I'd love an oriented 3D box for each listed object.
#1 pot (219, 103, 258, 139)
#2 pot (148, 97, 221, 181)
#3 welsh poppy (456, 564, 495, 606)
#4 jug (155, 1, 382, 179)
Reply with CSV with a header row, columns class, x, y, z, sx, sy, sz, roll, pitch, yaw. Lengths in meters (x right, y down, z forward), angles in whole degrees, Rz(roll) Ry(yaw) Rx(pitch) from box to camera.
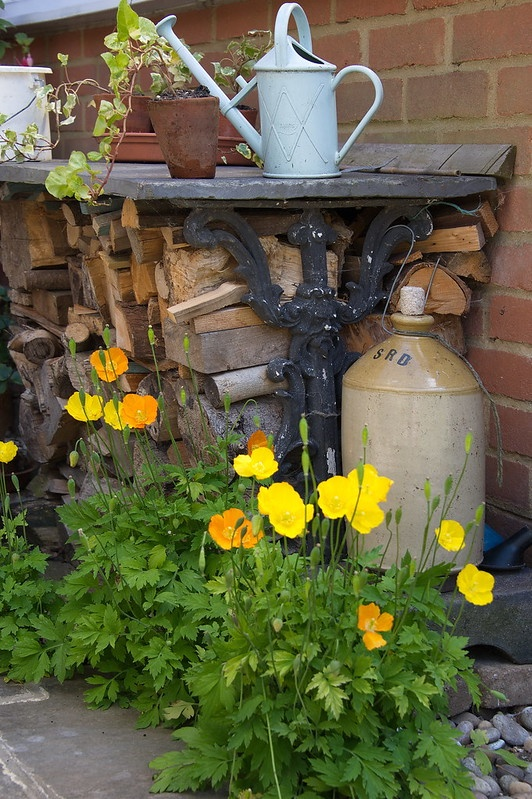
class,x,y,z,sx,sy,sz,roll,pitch,yaw
pot,-0.107,-0.888,2.384,0.165,0.109,0.141,-3,16,-10
pot,-0.193,-0.625,1.752,0.180,0.170,0.167,-1,21,1
welsh poppy,0.322,0.288,1.125,0.049,0.081,0.052,-6,9,13
jug,0.076,-0.763,1.837,0.269,0.449,0.353,-12,9,-28
